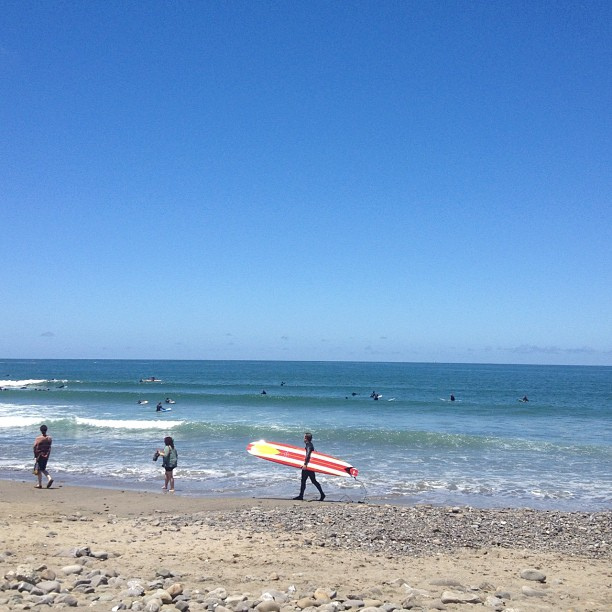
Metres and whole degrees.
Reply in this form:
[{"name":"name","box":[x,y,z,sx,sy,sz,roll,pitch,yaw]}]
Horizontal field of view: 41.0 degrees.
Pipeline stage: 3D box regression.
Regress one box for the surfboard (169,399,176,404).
[{"name":"surfboard","box":[-8.134,5.789,49.429,0.504,0.142,0.349,10,3,26]}]

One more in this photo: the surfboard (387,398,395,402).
[{"name":"surfboard","box":[5.412,6.106,53.222,0.243,0.239,1.089,1,-6,3]}]

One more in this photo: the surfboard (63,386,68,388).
[{"name":"surfboard","box":[-19.835,6.653,67.429,0.233,0.145,0.467,1,-3,-7]}]

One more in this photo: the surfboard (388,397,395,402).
[{"name":"surfboard","box":[5.557,6.233,54.725,0.236,0.312,1.112,1,-2,23]}]

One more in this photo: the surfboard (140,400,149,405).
[{"name":"surfboard","box":[-9.807,5.837,49.440,0.217,0.126,0.533,-12,2,-44]}]

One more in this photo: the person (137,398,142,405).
[{"name":"person","box":[-9.789,5.628,48.318,0.270,0.242,0.753,6,-9,-18]}]

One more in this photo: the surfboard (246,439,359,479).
[{"name":"surfboard","box":[-0.081,4.208,22.532,3.204,0.590,0.447,18,-12,-22]}]
